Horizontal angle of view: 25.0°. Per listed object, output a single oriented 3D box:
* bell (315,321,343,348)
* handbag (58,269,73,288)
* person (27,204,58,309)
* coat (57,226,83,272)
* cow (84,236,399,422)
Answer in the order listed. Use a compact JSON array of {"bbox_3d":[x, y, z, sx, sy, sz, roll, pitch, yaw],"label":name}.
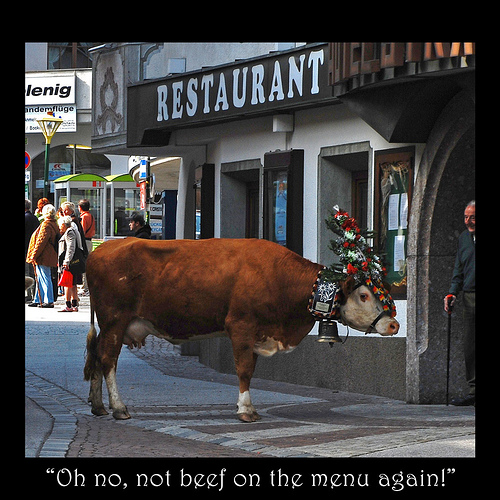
[{"bbox_3d":[0.671,0.721,9.921,0.222,0.228,0.221,0,-1,14],"label":"bell"},{"bbox_3d":[-3.310,0.477,20.404,0.159,0.383,0.413,-1,-4,33],"label":"handbag"},{"bbox_3d":[-3.746,0.108,20.573,0.508,1.893,1.378,1,1,-10],"label":"person"},{"bbox_3d":[-3.292,-0.066,20.547,0.395,0.956,1.139,1,21,-4],"label":"coat"},{"bbox_3d":[-0.137,0.686,9.885,2.718,1.516,0.695,2,-2,-1],"label":"cow"}]
